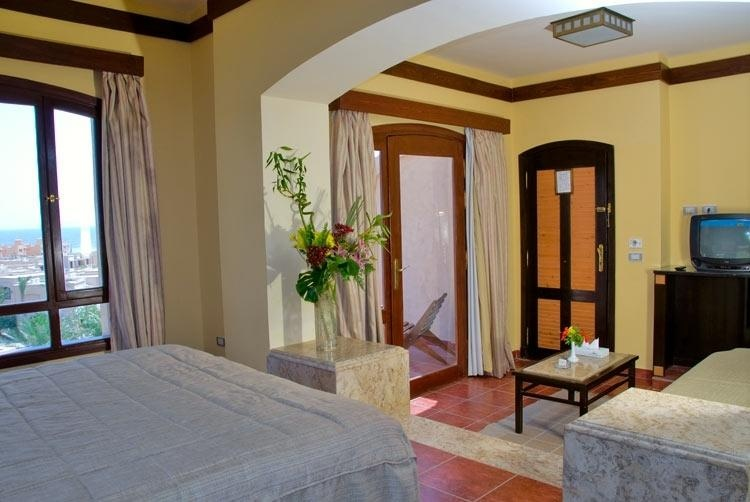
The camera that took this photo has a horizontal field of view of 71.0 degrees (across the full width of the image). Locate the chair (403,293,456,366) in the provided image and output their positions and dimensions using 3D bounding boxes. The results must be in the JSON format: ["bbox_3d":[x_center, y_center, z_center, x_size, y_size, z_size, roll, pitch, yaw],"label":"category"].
[{"bbox_3d":[0.581,0.918,6.000,0.731,0.823,0.606,1,1,13],"label":"chair"}]

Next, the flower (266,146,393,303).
[{"bbox_3d":[-0.406,-0.083,4.331,0.863,1.086,0.666,-4,9,29],"label":"flower"}]

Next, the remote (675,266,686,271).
[{"bbox_3d":[3.463,0.198,5.960,0.107,0.025,0.094,-2,6,9],"label":"remote"}]

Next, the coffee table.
[{"bbox_3d":[1.752,1.160,4.885,0.673,0.550,1.240,0,6,42],"label":"coffee table"}]

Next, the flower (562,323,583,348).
[{"bbox_3d":[1.907,0.840,5.070,0.173,0.249,0.330,5,14,22],"label":"flower"}]

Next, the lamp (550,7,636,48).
[{"bbox_3d":[1.932,-1.980,4.654,0.606,0.245,0.474,-10,16,-37],"label":"lamp"}]

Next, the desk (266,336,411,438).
[{"bbox_3d":[-0.214,0.923,4.269,0.818,0.596,0.807,-3,4,-42],"label":"desk"}]
